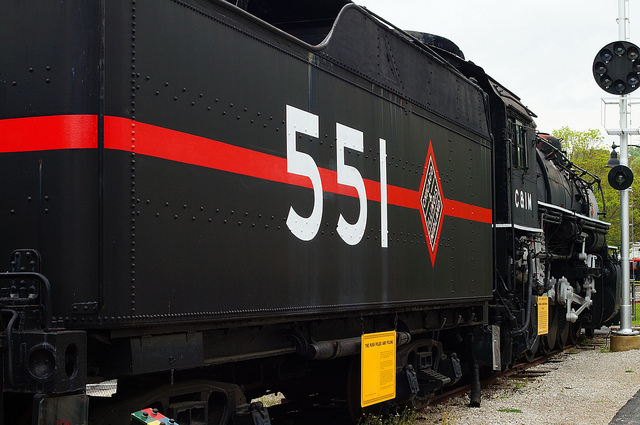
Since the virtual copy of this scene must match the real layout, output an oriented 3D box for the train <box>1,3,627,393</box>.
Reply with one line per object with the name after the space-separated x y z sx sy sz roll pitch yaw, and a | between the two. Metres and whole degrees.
0.706 -0.544 7.951 3.136 3.758 9.751 -1 -1 33 | train
